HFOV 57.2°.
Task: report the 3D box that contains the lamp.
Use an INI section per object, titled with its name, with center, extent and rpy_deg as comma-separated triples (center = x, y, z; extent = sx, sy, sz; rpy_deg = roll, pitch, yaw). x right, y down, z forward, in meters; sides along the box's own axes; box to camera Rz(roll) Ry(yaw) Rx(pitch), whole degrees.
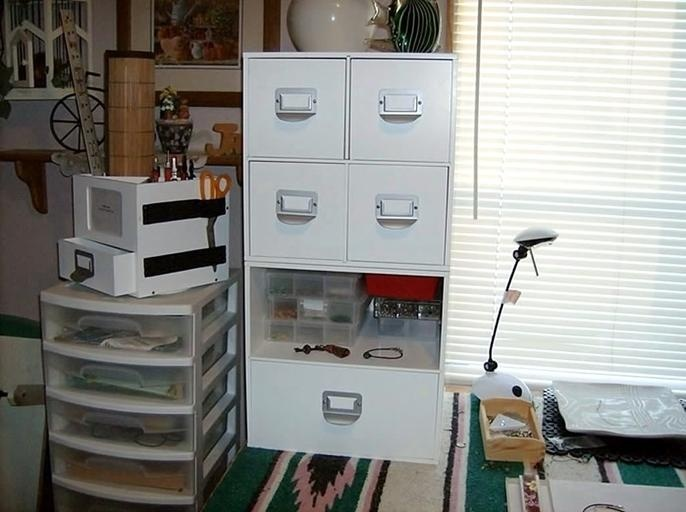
[lamp]
center = 0.623, 0.194, 2.288
extent = 0.246, 0.646, 0.449
rpy_deg = 4, 12, 13

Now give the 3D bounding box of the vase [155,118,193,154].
[vase]
center = -0.567, -0.410, 2.138
extent = 0.119, 0.105, 0.119
rpy_deg = 0, 11, -4

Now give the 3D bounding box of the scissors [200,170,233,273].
[scissors]
center = -0.409, -0.155, 2.017
extent = 0.074, 0.240, 0.117
rpy_deg = 3, 12, 10
